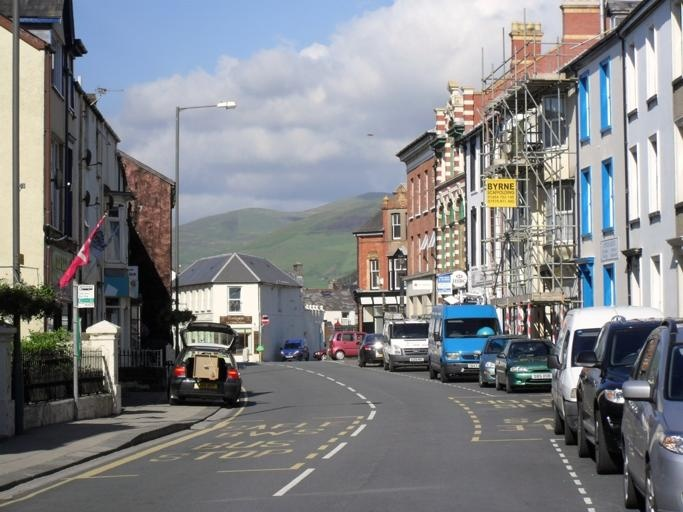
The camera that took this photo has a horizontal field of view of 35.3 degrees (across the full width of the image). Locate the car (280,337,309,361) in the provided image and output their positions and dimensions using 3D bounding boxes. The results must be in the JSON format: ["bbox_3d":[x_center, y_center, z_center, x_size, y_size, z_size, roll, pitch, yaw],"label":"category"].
[{"bbox_3d":[-3.777,7.574,86.084,1.279,1.310,2.314,-2,-10,6],"label":"car"}]
